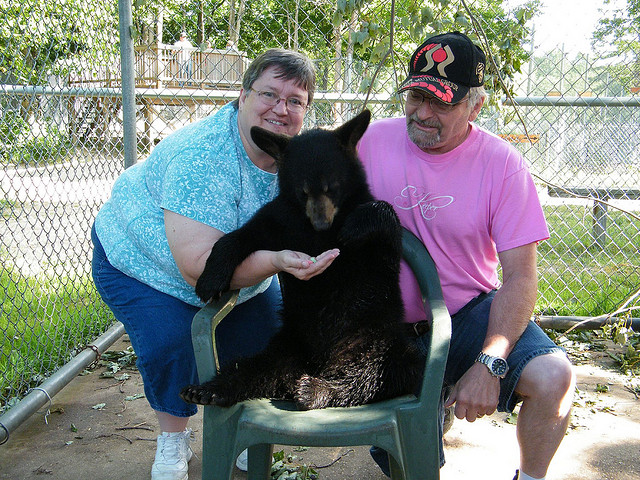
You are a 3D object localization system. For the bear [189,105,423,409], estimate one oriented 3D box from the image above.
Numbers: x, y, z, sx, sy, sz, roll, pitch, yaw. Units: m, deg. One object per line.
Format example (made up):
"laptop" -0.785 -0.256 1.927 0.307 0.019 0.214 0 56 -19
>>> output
"bear" -0.092 0.140 3.589 1.222 1.700 1.138 -3 8 -9
